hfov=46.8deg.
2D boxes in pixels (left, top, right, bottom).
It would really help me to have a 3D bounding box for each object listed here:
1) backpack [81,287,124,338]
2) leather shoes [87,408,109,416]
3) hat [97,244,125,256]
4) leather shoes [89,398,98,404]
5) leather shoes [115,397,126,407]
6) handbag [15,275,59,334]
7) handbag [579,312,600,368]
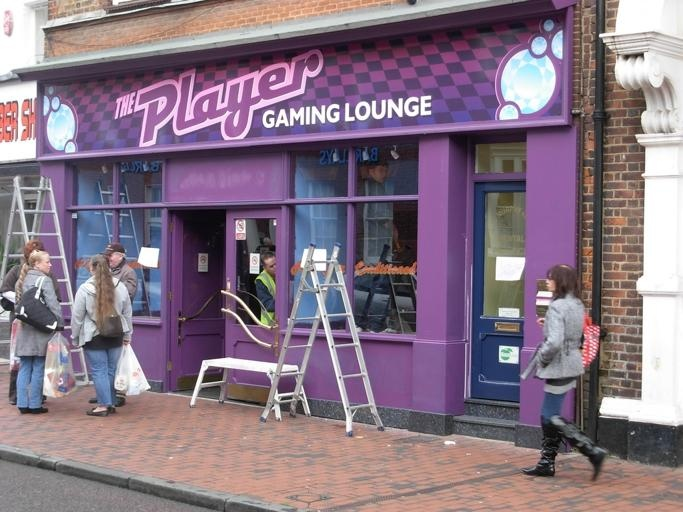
[{"bbox_3d":[-3.337,0.791,10.895,0.360,0.897,0.600,-5,2,39],"label":"backpack"},{"bbox_3d":[-3.394,2.176,10.949,0.244,0.086,0.126,5,5,27],"label":"leather shoes"},{"bbox_3d":[-3.466,-0.115,12.058,0.486,0.258,0.315,-3,1,-34],"label":"hat"},{"bbox_3d":[-3.732,2.166,11.789,0.088,0.067,0.162,0,5,-38],"label":"leather shoes"},{"bbox_3d":[-3.251,2.151,11.575,0.122,0.066,0.172,1,-3,-5],"label":"leather shoes"},{"bbox_3d":[-4.265,0.695,11.018,0.526,0.720,0.289,25,-22,-17],"label":"handbag"},{"bbox_3d":[2.753,0.931,8.716,0.334,0.577,0.142,8,-5,-43],"label":"handbag"}]
